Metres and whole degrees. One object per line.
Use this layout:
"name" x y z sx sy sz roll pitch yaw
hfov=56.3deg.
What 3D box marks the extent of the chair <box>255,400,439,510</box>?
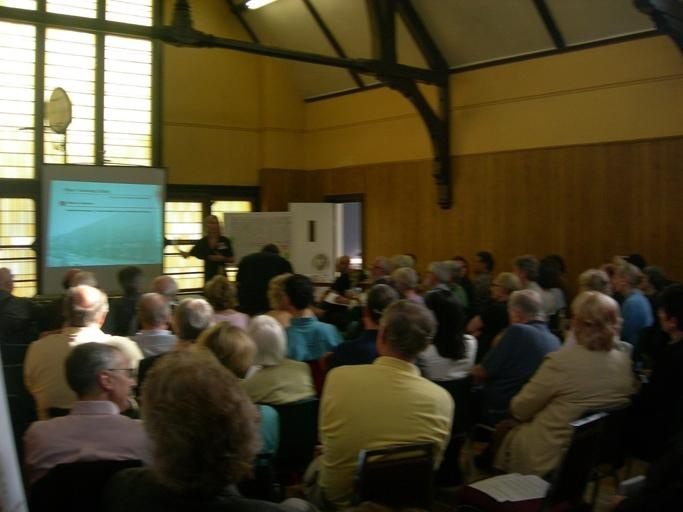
"chair" -0.052 0.835 3.349 0.798 0.490 0.778 2 0 -29
